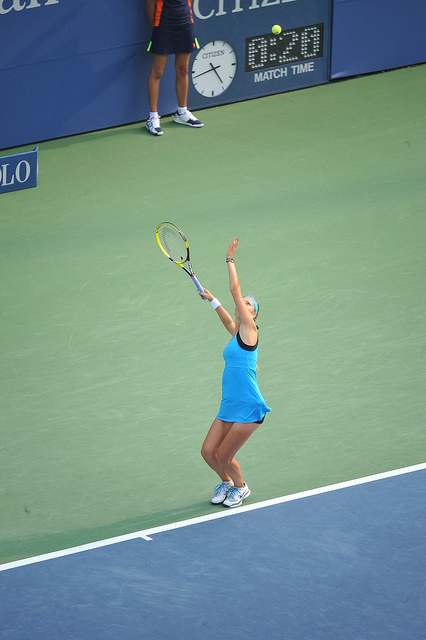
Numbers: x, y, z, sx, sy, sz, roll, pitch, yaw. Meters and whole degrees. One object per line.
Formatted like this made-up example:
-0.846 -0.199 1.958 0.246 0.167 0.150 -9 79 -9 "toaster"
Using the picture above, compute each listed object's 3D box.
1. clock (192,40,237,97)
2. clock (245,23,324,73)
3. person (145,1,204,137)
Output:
-0.001 -4.773 11.766 0.956 0.852 0.040 -17 35 -29 "clock"
1.412 -5.366 12.112 2.161 0.867 0.047 -24 41 -29 "clock"
-0.733 -4.386 11.054 0.892 2.149 0.997 -2 12 -2 "person"
